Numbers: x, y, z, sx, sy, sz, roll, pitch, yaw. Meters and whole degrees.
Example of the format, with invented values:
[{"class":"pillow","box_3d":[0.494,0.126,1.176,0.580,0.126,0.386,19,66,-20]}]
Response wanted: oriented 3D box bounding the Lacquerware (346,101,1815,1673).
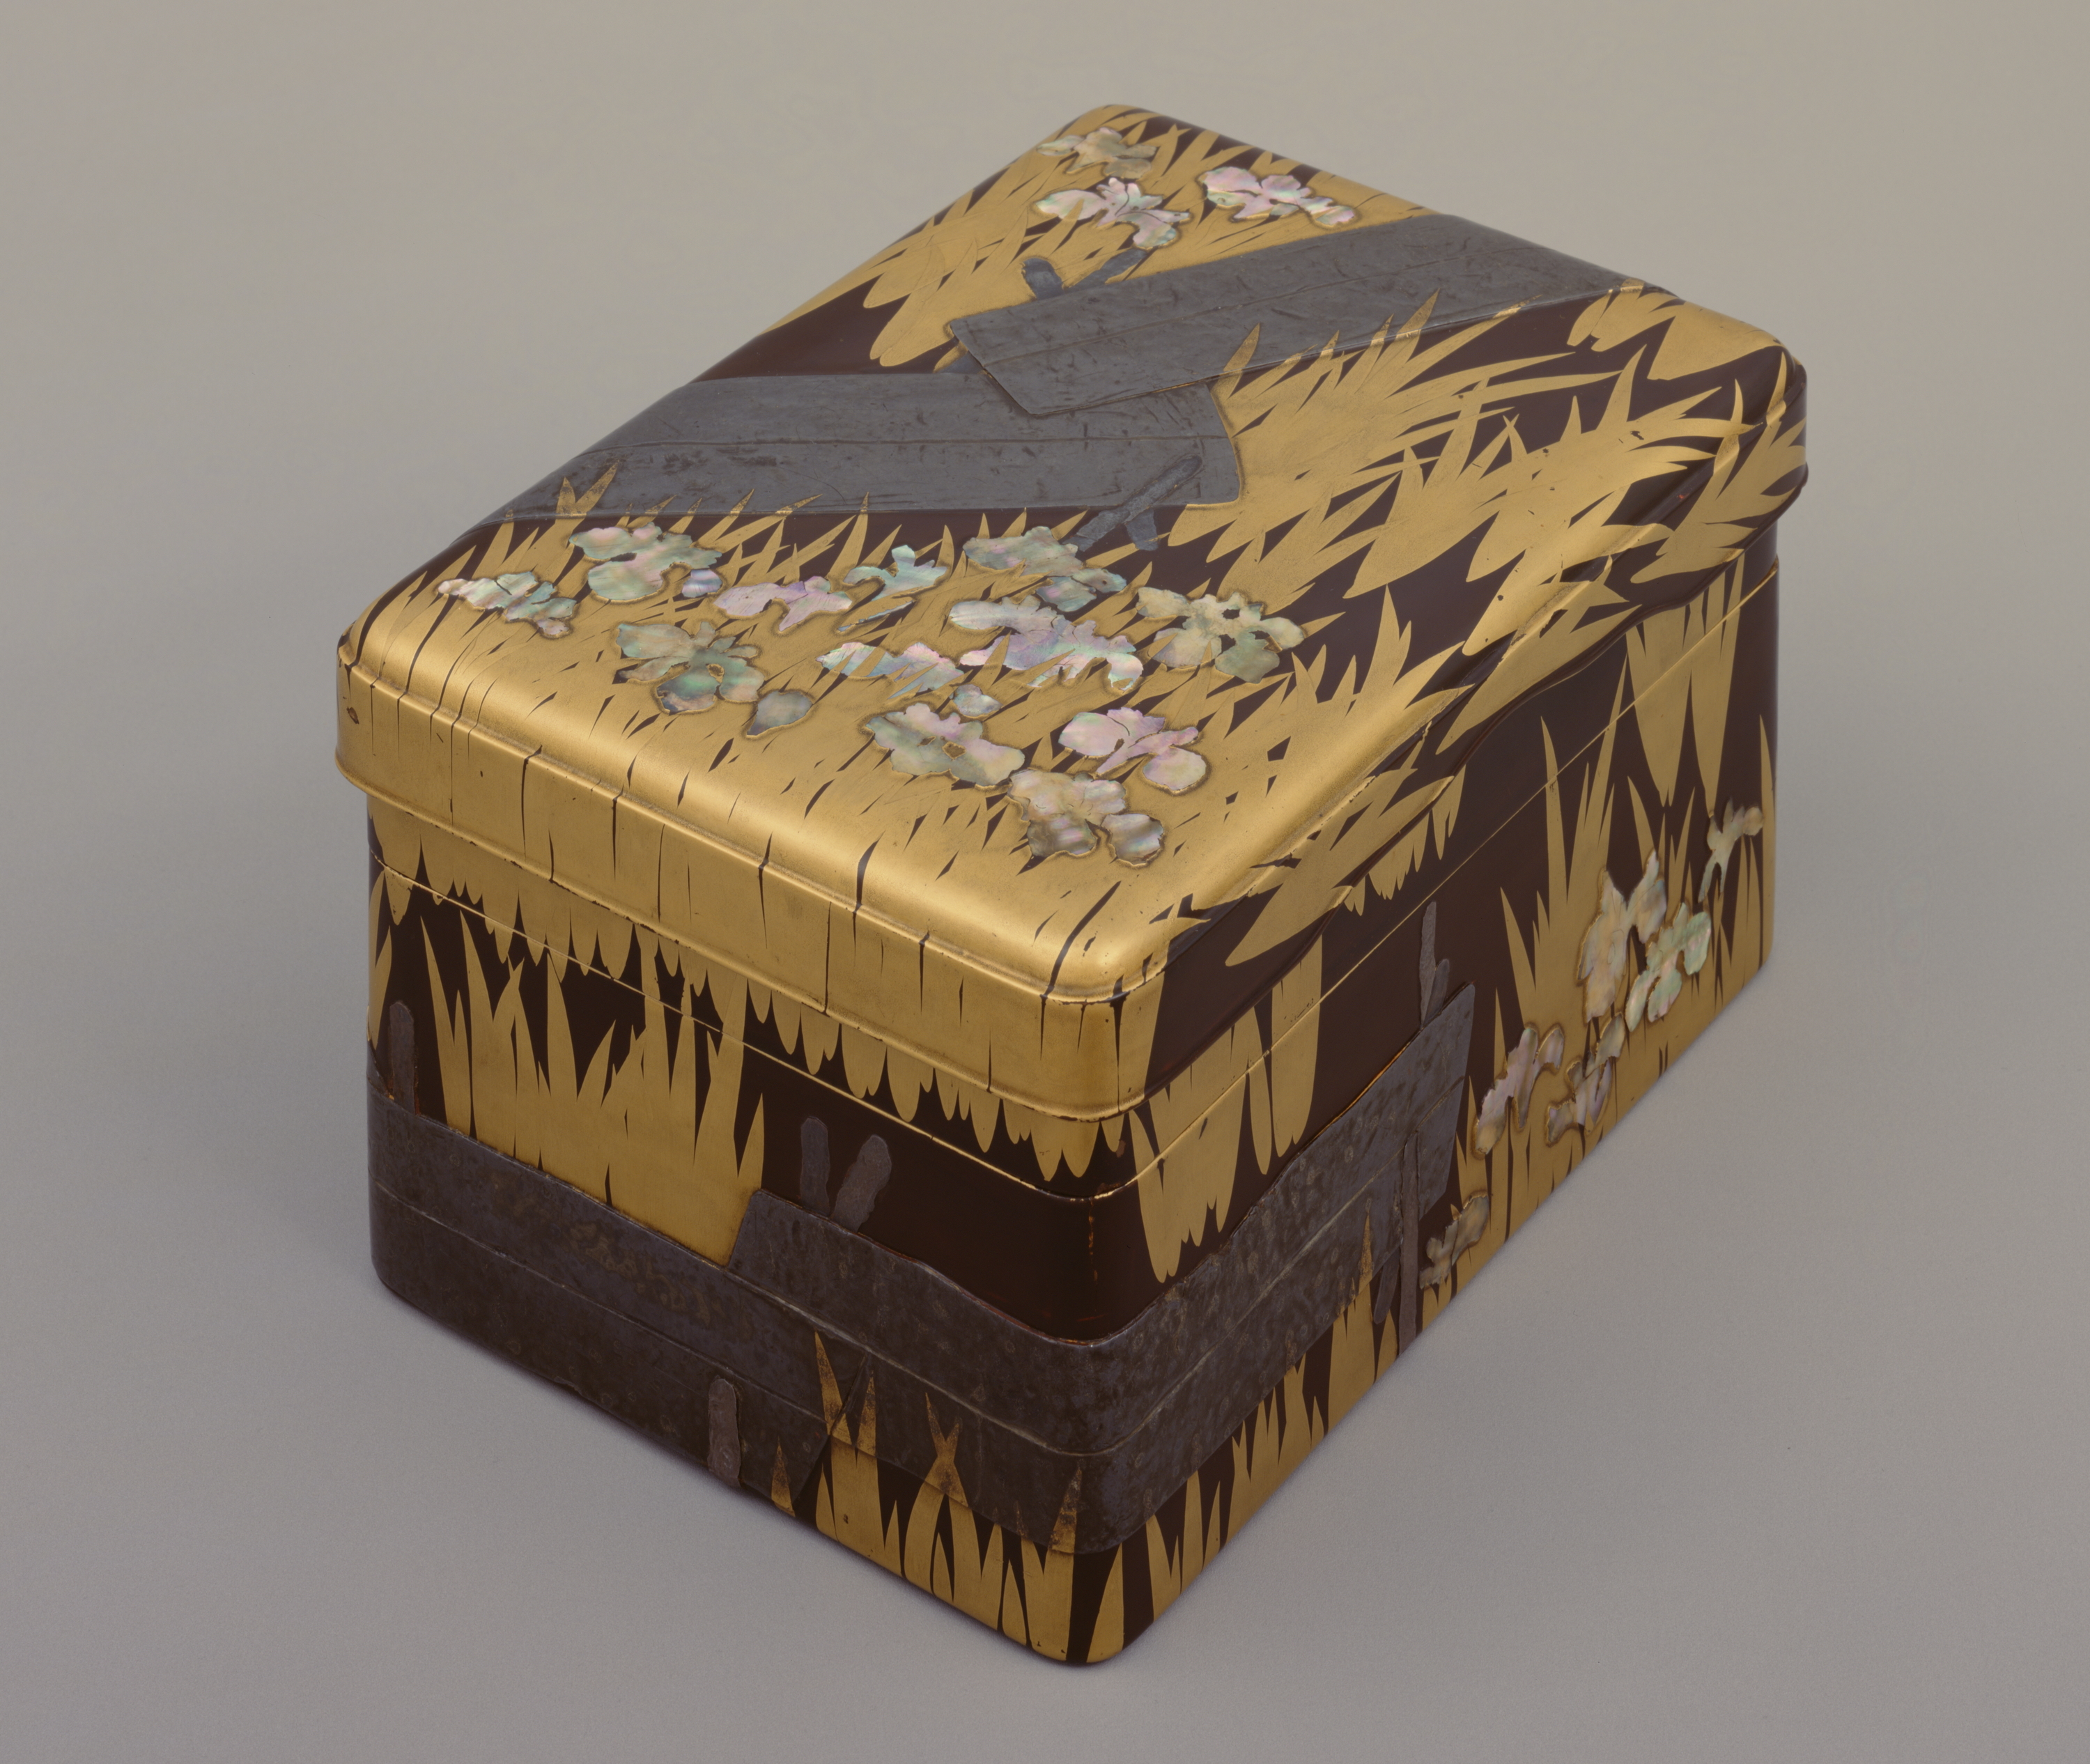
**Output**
[{"class":"Lacquerware","box_3d":[0.011,-0.019,2.344,0.624,0.815,0.813,20,27,34]}]
